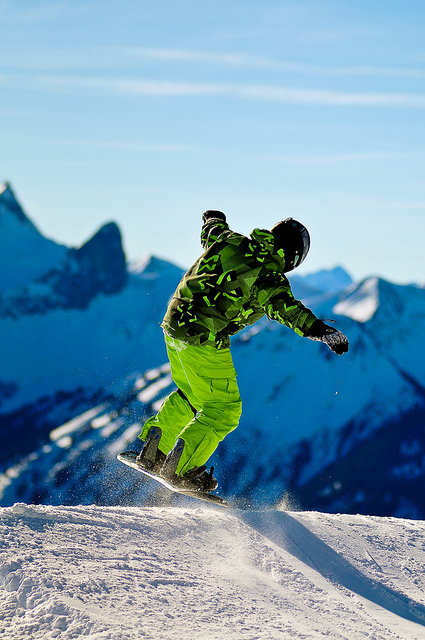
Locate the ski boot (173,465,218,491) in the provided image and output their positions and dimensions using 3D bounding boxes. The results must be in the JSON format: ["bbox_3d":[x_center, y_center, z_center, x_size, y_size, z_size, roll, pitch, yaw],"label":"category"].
[{"bbox_3d":[-0.126,1.447,6.533,0.154,0.278,0.479,10,6,42],"label":"ski boot"}]

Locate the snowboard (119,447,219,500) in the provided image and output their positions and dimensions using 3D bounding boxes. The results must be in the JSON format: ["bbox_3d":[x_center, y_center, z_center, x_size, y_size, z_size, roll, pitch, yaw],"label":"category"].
[{"bbox_3d":[-0.534,1.331,6.892,0.456,0.332,1.150,43,-15,-34],"label":"snowboard"}]
